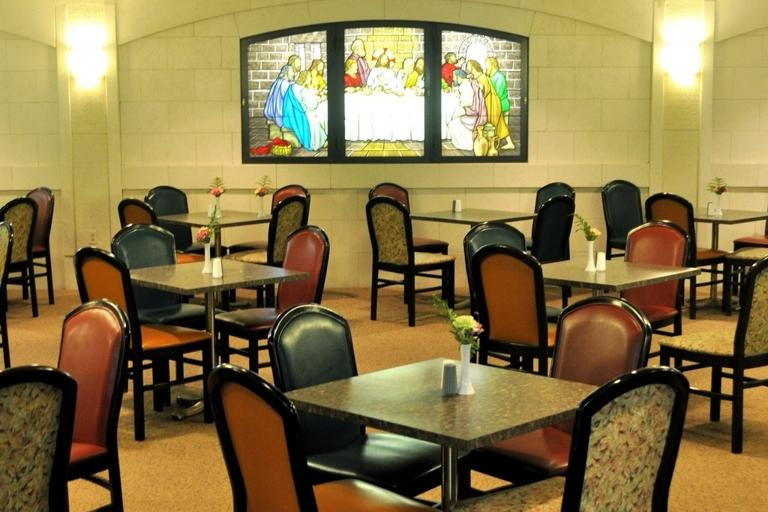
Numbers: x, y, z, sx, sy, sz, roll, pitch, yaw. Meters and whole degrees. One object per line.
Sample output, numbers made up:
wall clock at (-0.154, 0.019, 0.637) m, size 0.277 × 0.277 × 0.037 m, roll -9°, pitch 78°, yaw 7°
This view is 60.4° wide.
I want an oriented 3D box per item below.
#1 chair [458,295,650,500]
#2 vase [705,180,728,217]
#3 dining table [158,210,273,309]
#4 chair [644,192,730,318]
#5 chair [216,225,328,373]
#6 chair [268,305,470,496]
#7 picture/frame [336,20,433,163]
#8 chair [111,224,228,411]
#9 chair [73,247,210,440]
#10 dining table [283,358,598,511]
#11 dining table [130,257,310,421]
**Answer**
chair at (0.775, 0.803, 3.031) m, size 0.743 × 1.169 × 0.688 m, roll -5°, pitch 4°, yaw -33°
vase at (3.793, -0.670, 7.524) m, size 0.268 × 0.421 × 0.242 m, roll 3°, pitch 5°, yaw 4°
dining table at (-1.856, -0.116, 7.159) m, size 1.080 × 1.071 × 1.110 m, roll 4°, pitch 8°, yaw 35°
chair at (3.310, -0.074, 7.221) m, size 0.734 × 1.289 × 0.600 m, roll -7°, pitch 10°, yaw -27°
chair at (-0.955, 0.324, 4.955) m, size 0.692 × 1.240 × 0.592 m, roll 9°, pitch 5°, yaw 15°
chair at (-0.057, 0.760, 2.921) m, size 0.777 × 1.028 × 0.621 m, roll 3°, pitch 6°, yaw 42°
picture/frame at (0.013, -2.138, 8.436) m, size 1.216 × 1.808 × 0.095 m, roll 1°, pitch -19°, yaw -3°
chair at (-1.632, 0.358, 4.973) m, size 0.785 × 1.155 × 0.819 m, roll -3°, pitch 11°, yaw -23°
chair at (-1.624, 0.532, 4.482) m, size 0.664 × 1.220 × 0.737 m, roll 4°, pitch 5°, yaw 40°
dining table at (0.238, 0.358, 2.566) m, size 0.749 × 0.739 × 0.768 m, roll 7°, pitch 12°, yaw 45°
dining table at (-1.232, 0.429, 4.839) m, size 1.132 × 1.146 × 1.106 m, roll -4°, pitch 8°, yaw -38°
